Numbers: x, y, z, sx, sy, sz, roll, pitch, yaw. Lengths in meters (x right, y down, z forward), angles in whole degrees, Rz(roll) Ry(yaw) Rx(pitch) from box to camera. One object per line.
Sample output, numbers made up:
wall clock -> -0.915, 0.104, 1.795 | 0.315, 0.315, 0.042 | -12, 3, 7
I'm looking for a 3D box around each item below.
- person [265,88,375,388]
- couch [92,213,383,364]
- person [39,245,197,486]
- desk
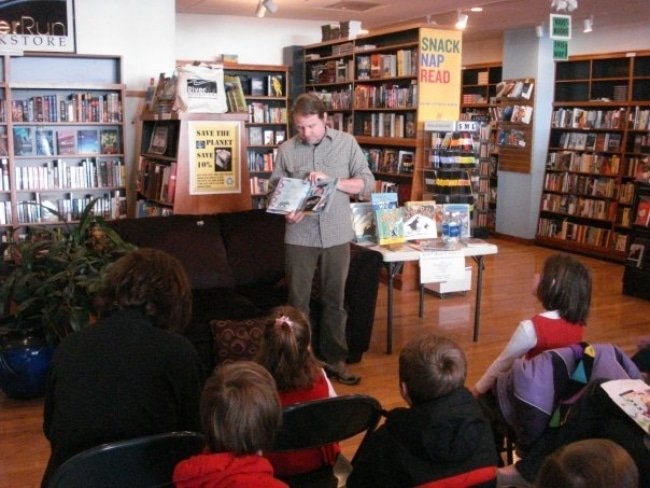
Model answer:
person -> -0.022, 0.005, 3.374 | 0.754, 1.922, 0.688 | 1, 9, 2
couch -> -0.711, 0.344, 3.910 | 2.069, 1.039, 1.139 | -3, 11, -35
person -> -0.696, 0.457, 1.659 | 0.514, 0.836, 0.365 | -6, 15, -28
desk -> 1.013, 0.477, 4.341 | 1.394, 0.835, 1.113 | 2, 1, 12
